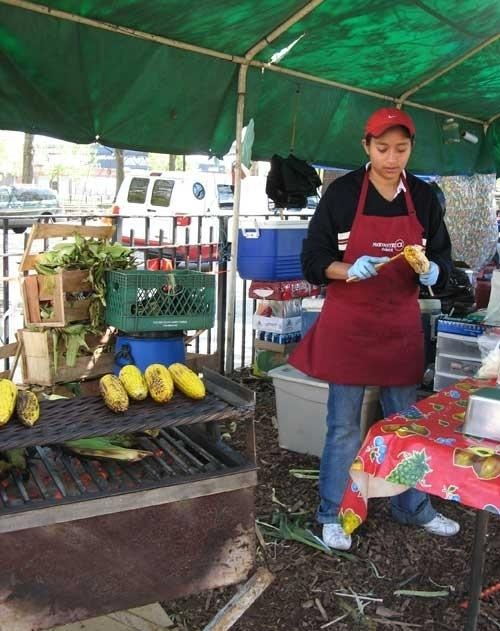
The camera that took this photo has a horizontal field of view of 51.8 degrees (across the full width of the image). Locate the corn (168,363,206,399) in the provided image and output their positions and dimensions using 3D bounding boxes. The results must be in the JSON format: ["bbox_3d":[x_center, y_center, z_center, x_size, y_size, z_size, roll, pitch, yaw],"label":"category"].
[{"bbox_3d":[-0.240,0.277,2.088,0.085,0.063,0.179,-40,46,-11],"label":"corn"}]

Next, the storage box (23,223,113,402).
[{"bbox_3d":[-1.225,-0.040,3.464,0.581,1.106,0.569,21,23,39],"label":"storage box"}]

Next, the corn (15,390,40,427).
[{"bbox_3d":[-0.751,0.324,1.766,0.079,0.037,0.123,-8,49,-18],"label":"corn"}]

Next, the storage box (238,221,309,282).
[{"bbox_3d":[0.176,-0.680,5.065,0.651,0.608,0.704,9,15,4],"label":"storage box"}]

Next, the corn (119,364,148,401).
[{"bbox_3d":[-0.466,0.259,2.034,0.081,0.066,0.156,-14,33,-24],"label":"corn"}]

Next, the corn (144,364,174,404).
[{"bbox_3d":[-0.360,0.262,2.013,0.082,0.060,0.165,-18,34,-15],"label":"corn"}]

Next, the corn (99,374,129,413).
[{"bbox_3d":[-0.499,0.291,1.905,0.079,0.056,0.162,13,21,-33],"label":"corn"}]

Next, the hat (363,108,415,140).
[{"bbox_3d":[0.576,-0.813,2.158,0.195,0.147,0.224,5,10,19],"label":"hat"}]

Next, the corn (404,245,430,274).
[{"bbox_3d":[0.641,-0.228,2.021,0.074,0.080,0.150,10,-18,36],"label":"corn"}]

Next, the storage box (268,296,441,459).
[{"bbox_3d":[0.766,0.394,3.962,1.389,1.104,1.146,3,6,21],"label":"storage box"}]

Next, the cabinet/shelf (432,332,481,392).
[{"bbox_3d":[1.309,0.284,3.379,0.347,0.326,0.306,5,16,21],"label":"cabinet/shelf"}]
